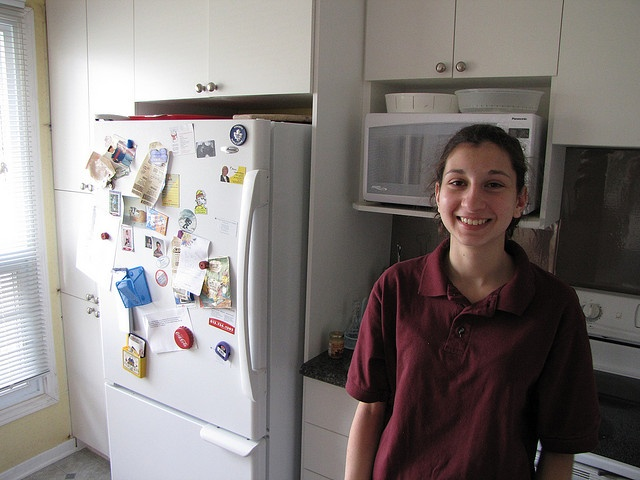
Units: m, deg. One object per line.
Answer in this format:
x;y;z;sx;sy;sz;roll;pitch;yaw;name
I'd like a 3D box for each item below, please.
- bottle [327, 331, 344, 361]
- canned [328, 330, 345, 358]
0.069;0.460;2.116;0.089;0.128;0.096;1;4;0;bottle
0.071;0.452;2.120;0.090;0.126;0.095;2;4;10;canned
